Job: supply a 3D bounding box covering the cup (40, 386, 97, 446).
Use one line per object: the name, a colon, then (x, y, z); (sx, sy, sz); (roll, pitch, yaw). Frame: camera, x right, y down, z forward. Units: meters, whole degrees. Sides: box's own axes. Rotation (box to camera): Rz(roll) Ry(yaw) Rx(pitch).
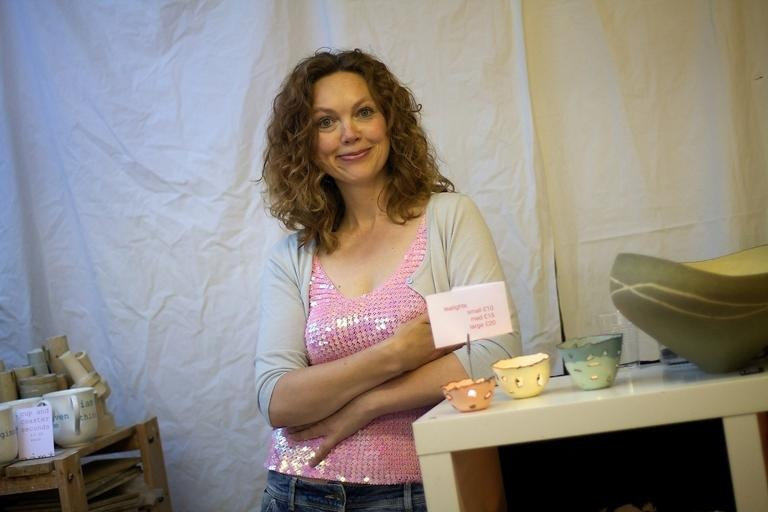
cup: (-1.110, 0.563, 2.105); (0.129, 0.157, 0.204); (-4, 1, -22)
